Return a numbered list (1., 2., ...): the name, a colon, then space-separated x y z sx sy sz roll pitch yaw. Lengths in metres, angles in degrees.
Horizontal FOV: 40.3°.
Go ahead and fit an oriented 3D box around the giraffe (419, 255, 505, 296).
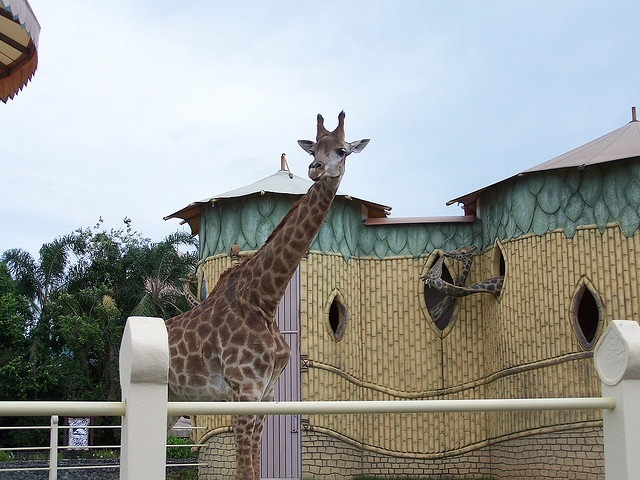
1. giraffe: 2.854 0.767 17.388 1.635 0.875 0.425 -2 -10 16
